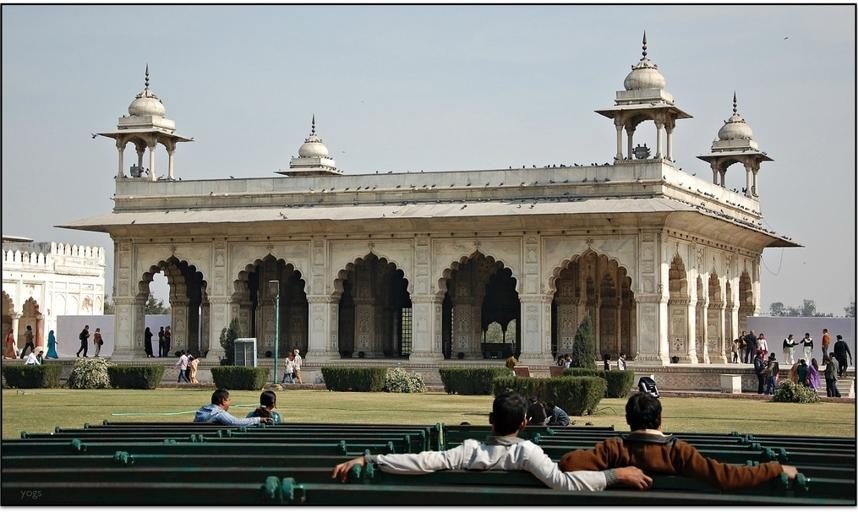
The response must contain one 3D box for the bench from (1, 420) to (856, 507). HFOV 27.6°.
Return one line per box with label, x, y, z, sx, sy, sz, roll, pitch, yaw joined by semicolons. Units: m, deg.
bench;-1.958;3.807;32.263;10.049;1.530;0.905;0;-13;4
